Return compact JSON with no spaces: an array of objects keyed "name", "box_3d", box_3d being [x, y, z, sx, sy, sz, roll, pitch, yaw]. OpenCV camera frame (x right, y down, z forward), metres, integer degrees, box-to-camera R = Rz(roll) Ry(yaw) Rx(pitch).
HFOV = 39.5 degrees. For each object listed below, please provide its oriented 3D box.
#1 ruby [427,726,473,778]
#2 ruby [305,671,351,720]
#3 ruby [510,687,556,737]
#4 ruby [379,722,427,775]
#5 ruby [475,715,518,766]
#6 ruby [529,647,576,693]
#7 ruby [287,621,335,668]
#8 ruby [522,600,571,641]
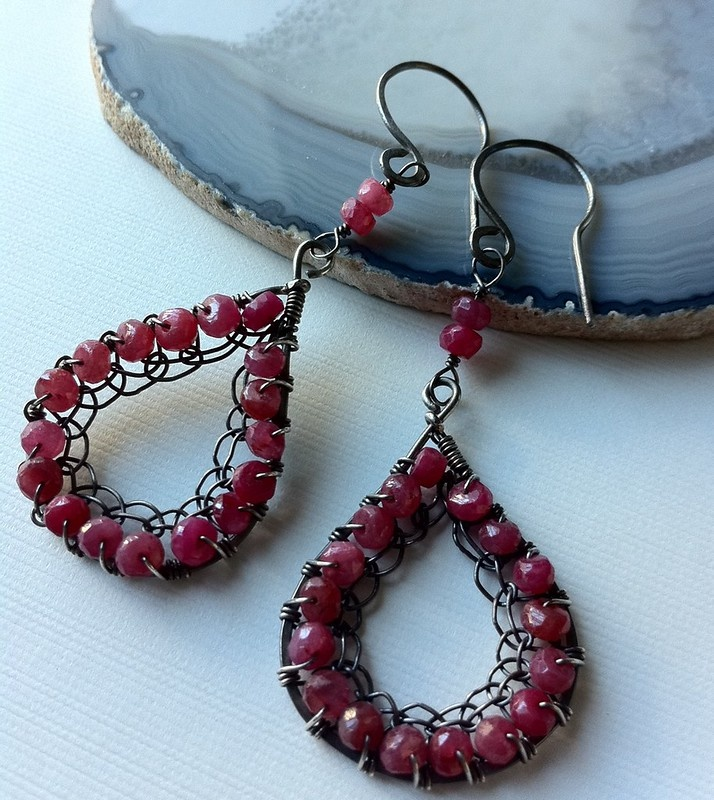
[{"name":"ruby","box_3d":[0.118,0.451,1.266,0.066,0.035,0.045,19,36,31]},{"name":"ruby","box_3d":[-0.039,0.387,1.297,0.059,0.037,0.066,-20,54,-6]},{"name":"ruby","box_3d":[0.227,0.403,1.276,0.057,0.044,0.060,-4,36,-5]},{"name":"ruby","box_3d":[0.057,0.444,1.263,0.061,0.036,0.057,8,58,-14]},{"name":"ruby","box_3d":[0.179,0.441,1.283,0.068,0.038,0.063,26,45,-17]},{"name":"ruby","box_3d":[0.256,0.357,1.304,0.061,0.042,0.062,20,60,21]},{"name":"ruby","box_3d":[-0.062,0.322,1.303,0.059,0.066,0.044,1,101,-5]},{"name":"ruby","box_3d":[0.251,0.294,1.317,0.065,0.061,0.037,19,89,14]}]
